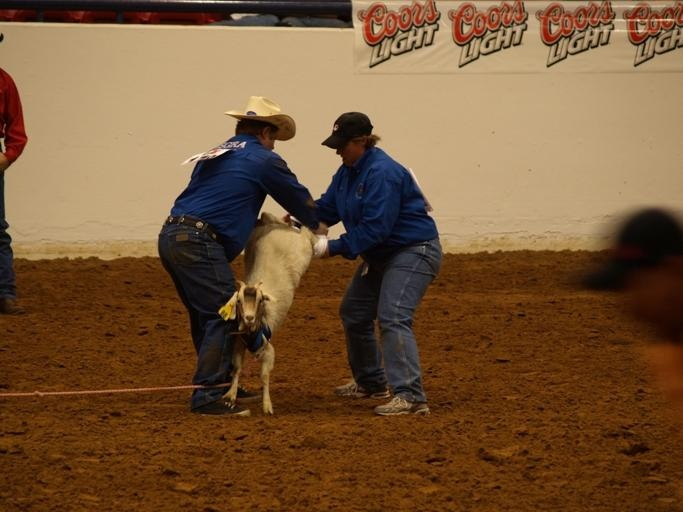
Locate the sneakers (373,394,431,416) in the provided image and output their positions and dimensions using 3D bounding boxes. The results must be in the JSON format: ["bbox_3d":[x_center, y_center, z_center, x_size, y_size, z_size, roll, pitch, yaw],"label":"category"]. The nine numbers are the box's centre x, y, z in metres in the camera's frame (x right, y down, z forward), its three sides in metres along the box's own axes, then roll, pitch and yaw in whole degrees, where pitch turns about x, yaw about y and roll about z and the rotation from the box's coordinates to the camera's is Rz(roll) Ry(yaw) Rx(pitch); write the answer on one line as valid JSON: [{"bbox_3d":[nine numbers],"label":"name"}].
[{"bbox_3d":[0.491,1.184,7.172,0.481,0.151,0.153,3,-3,-9],"label":"sneakers"}]

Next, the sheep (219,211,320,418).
[{"bbox_3d":[-0.596,0.500,7.313,0.647,1.192,1.707,21,48,-12],"label":"sheep"}]

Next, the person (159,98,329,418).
[{"bbox_3d":[-0.901,0.132,7.075,0.744,2.120,1.018,12,22,40],"label":"person"}]

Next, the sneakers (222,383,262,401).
[{"bbox_3d":[-0.850,1.129,7.445,0.381,0.099,0.113,1,4,-8],"label":"sneakers"}]

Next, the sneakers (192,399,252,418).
[{"bbox_3d":[-0.928,1.190,7.056,0.532,0.127,0.144,0,-1,-3],"label":"sneakers"}]

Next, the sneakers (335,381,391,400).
[{"bbox_3d":[0.165,1.129,7.652,0.514,0.162,0.154,2,5,-2],"label":"sneakers"}]

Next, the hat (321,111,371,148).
[{"bbox_3d":[0.023,-1.013,7.208,0.462,0.171,0.262,-16,23,-20],"label":"hat"}]
